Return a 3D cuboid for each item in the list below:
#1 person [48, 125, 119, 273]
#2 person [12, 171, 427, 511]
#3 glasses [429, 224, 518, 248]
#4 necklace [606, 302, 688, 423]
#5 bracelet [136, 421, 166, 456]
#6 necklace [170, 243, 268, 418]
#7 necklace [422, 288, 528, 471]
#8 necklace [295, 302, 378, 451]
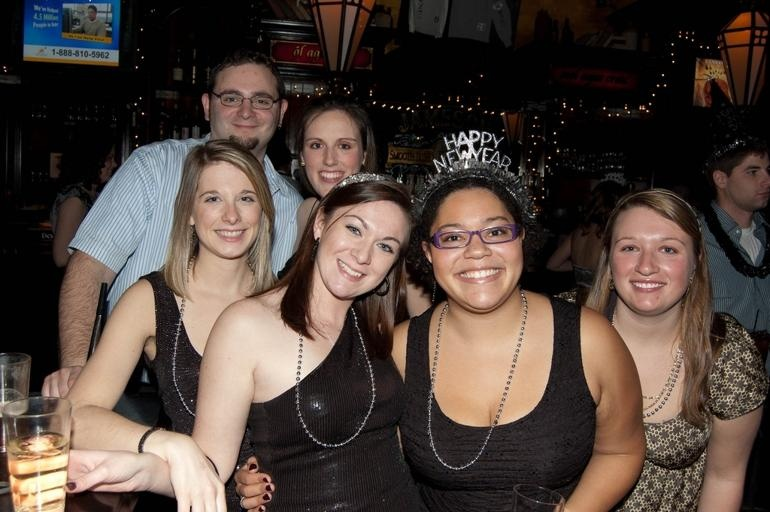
[{"bbox_3d":[-3.066,-0.551,6.270,0.591,0.836,1.734,-12,-30,-34],"label":"person"},{"bbox_3d":[-0.874,0.524,3.605,1.475,2.420,0.833,19,-15,-36],"label":"person"},{"bbox_3d":[0.516,-0.079,3.583,0.498,0.162,0.105,3,7,5],"label":"glasses"},{"bbox_3d":[1.639,0.687,3.829,0.467,0.706,0.184,0,4,16],"label":"necklace"},{"bbox_3d":[-1.212,0.939,3.171,0.112,0.031,0.109,-41,17,42],"label":"bracelet"},{"bbox_3d":[-1.193,0.499,3.860,0.477,1.023,0.144,2,-9,-8],"label":"necklace"},{"bbox_3d":[0.665,0.825,3.803,0.426,1.228,0.115,8,-8,14],"label":"necklace"},{"bbox_3d":[-0.308,0.711,3.592,0.476,0.690,0.368,0,8,-17],"label":"necklace"}]
